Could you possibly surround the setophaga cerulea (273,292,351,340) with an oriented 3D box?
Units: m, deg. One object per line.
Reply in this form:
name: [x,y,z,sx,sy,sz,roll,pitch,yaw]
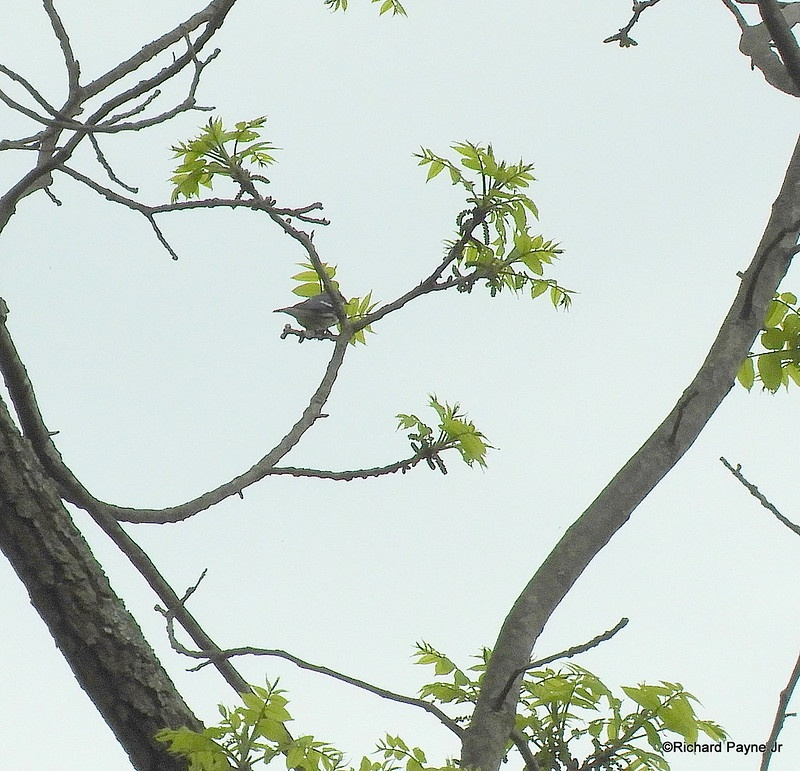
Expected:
setophaga cerulea: [-0.224,-0.206,5.689,0.252,0.091,0.131,13,-109,-29]
